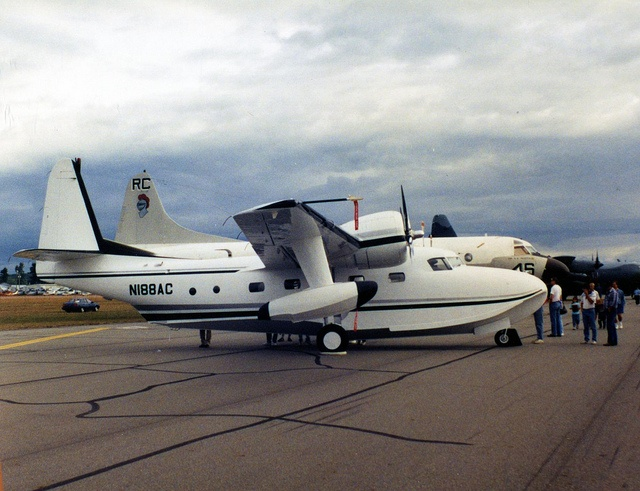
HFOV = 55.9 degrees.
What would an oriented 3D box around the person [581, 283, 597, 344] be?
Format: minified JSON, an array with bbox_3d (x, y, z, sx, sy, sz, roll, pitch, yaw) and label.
[{"bbox_3d":[6.786,1.711,15.180,0.339,1.521,0.797,-3,-1,23],"label":"person"}]

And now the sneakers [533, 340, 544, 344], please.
[{"bbox_3d":[5.394,2.370,14.808,0.269,0.097,0.089,-1,-12,3],"label":"sneakers"}]

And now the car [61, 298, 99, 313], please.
[{"bbox_3d":[-16.223,4.100,41.123,1.158,0.662,2.128,-2,-10,10],"label":"car"}]

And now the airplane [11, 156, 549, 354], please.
[{"bbox_3d":[-0.820,0.911,14.305,7.820,2.832,7.255,-1,-2,4],"label":"airplane"}]

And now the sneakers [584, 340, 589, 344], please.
[{"bbox_3d":[6.617,2.398,14.923,0.108,0.043,0.187,-3,0,14],"label":"sneakers"}]

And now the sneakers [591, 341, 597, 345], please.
[{"bbox_3d":[6.760,2.411,14.834,0.065,0.067,0.166,-15,-30,19],"label":"sneakers"}]

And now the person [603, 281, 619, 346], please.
[{"bbox_3d":[7.088,1.712,14.618,0.316,1.512,0.816,-3,-1,25],"label":"person"}]
